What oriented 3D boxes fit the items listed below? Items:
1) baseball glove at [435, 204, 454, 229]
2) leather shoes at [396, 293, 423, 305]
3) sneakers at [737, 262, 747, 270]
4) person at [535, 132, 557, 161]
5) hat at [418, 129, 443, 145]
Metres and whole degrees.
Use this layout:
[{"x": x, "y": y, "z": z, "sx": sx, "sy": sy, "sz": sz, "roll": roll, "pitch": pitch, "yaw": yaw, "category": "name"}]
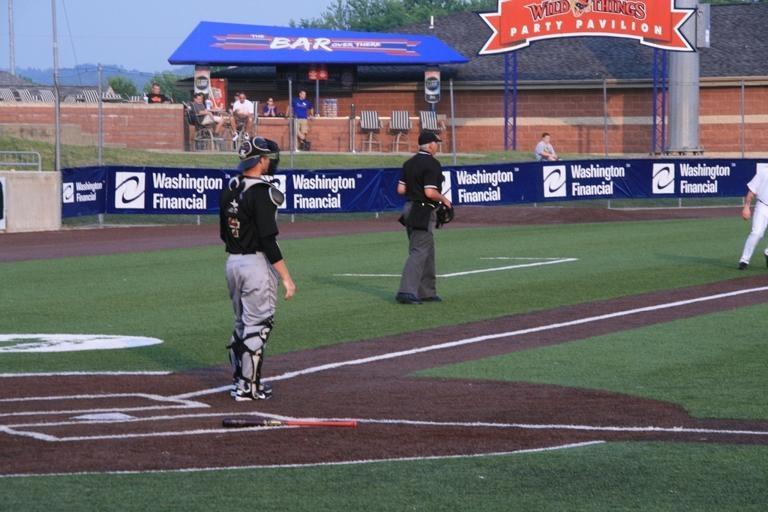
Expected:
[{"x": 1.658, "y": -1.045, "z": 41.813, "sx": 0.491, "sy": 0.419, "sz": 0.621, "roll": -2, "pitch": 3, "yaw": -16, "category": "baseball glove"}, {"x": 0.716, "y": 1.154, "z": 41.571, "sx": 0.704, "sy": 0.261, "sz": 0.280, "roll": -1, "pitch": 7, "yaw": -2, "category": "leather shoes"}, {"x": 10.035, "y": 0.313, "z": 44.280, "sx": 0.253, "sy": 0.263, "sz": 0.693, "roll": -2, "pitch": -3, "yaw": 18, "category": "sneakers"}, {"x": 6.140, "y": -4.097, "z": 59.639, "sx": 0.703, "sy": 1.028, "sz": 1.520, "roll": 1, "pitch": 7, "yaw": 5, "category": "person"}, {"x": 1.206, "y": -3.072, "z": 41.569, "sx": 0.507, "sy": 0.366, "sz": 0.538, "roll": 0, "pitch": 7, "yaw": -3, "category": "hat"}]
